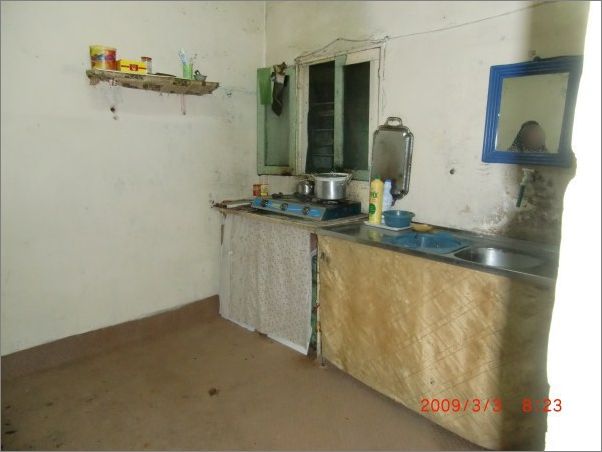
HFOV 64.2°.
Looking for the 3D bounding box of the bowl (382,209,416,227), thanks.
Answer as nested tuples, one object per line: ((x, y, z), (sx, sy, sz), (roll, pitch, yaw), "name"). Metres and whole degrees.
((0.654, -0.059, 3.158), (0.136, 0.057, 0.130), (-4, 11, 1), "bowl")

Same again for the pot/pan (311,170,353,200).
((0.239, -0.286, 3.536), (0.251, 0.175, 0.197), (6, 8, 42), "pot/pan")

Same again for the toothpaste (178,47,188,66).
((-0.902, -1.289, 3.646), (0.036, 0.057, 0.227), (12, 23, -21), "toothpaste")

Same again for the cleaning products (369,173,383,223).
((0.520, -0.170, 3.294), (0.098, 0.295, 0.182), (4, 16, 8), "cleaning products")

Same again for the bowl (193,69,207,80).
((-0.766, -1.134, 3.627), (0.078, 0.059, 0.112), (7, 17, 18), "bowl")

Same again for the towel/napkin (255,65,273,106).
((-0.316, -1.213, 4.170), (0.131, 0.302, 0.025), (3, 14, 24), "towel/napkin")

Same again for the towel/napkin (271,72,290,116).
((-0.175, -1.155, 4.136), (0.191, 0.383, 0.114), (29, 41, 27), "towel/napkin")

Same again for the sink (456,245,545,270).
((1.143, 0.185, 2.752), (0.191, 0.085, 0.226), (-12, 13, -41), "sink")

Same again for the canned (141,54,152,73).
((-1.088, -1.133, 3.369), (0.059, 0.111, 0.066), (-5, 17, -23), "canned")

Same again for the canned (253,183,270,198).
((-0.353, -0.303, 4.068), (0.147, 0.152, 0.111), (6, 9, 35), "canned")

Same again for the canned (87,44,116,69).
((-1.363, -1.160, 3.290), (0.167, 0.161, 0.231), (-5, 18, -23), "canned")

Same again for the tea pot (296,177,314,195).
((0.041, -0.310, 3.776), (0.124, 0.124, 0.124), (1, 6, 0), "tea pot")

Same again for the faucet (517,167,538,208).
((1.329, -0.220, 2.831), (0.076, 0.240, 0.041), (7, 17, 19), "faucet")

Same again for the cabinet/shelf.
((-0.040, 0.301, 4.027), (1.385, 1.223, 0.975), (16, 19, 39), "cabinet/shelf")

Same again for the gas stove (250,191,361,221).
((0.024, -0.159, 3.665), (0.808, 0.148, 0.444), (14, 20, 34), "gas stove")
